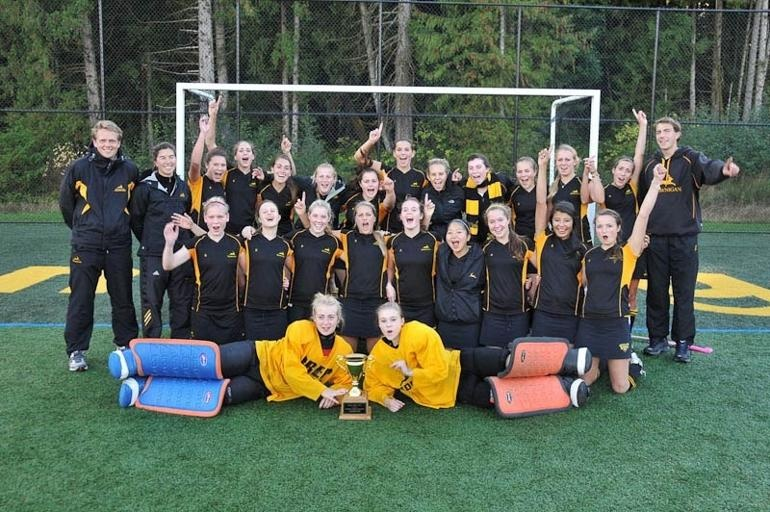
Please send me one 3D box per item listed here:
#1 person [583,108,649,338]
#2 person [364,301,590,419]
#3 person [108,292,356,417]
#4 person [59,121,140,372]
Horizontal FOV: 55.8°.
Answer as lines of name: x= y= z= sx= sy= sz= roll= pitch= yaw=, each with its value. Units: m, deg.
person: x=2.787 y=-0.475 z=8.588 sx=0.792 sy=2.430 sz=0.761 roll=2 pitch=1 yaw=9
person: x=0.747 y=1.117 z=7.793 sx=2.223 sy=1.091 sz=1.086 roll=-3 pitch=-1 yaw=-2
person: x=-1.473 y=0.983 z=7.175 sx=2.284 sy=1.142 sz=0.440 roll=0 pitch=7 yaw=-4
person: x=-3.087 y=-0.129 z=7.942 sx=0.823 sy=2.692 sz=0.538 roll=-3 pitch=8 yaw=-25
